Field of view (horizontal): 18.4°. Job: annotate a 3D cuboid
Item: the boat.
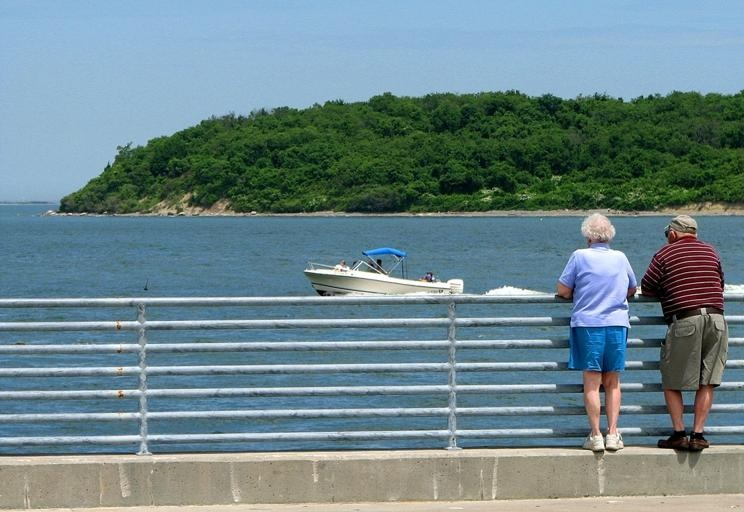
[{"bbox_3d":[3.053,4.050,412.012,30.251,7.227,7.500,5,-1,1],"label":"boat"}]
